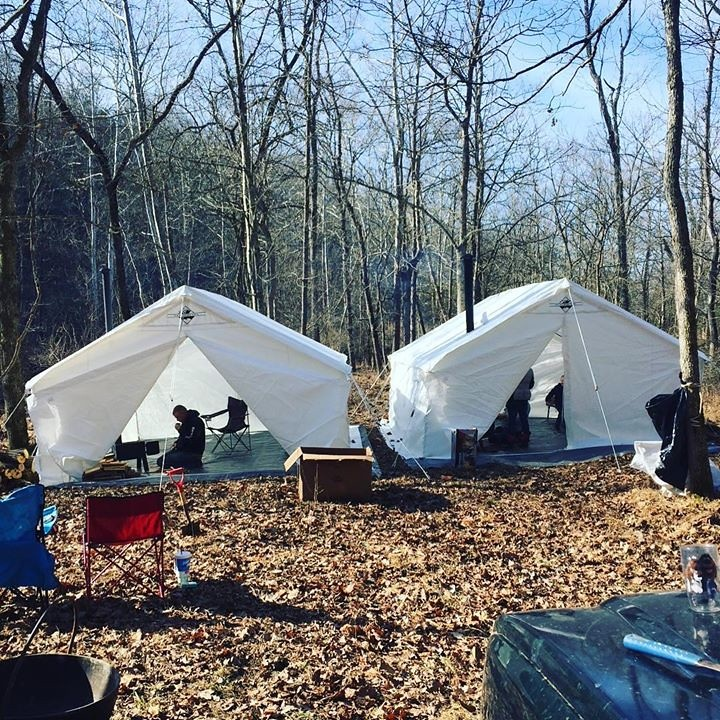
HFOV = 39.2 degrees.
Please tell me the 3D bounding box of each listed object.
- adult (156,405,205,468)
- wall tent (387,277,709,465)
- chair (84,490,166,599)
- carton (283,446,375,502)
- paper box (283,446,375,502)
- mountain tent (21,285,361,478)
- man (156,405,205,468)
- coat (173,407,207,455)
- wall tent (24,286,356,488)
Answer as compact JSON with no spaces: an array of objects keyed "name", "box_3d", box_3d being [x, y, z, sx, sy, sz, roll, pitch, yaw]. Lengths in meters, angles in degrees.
[{"name":"adult","box_3d":[-2.442,1.159,13.681,0.693,1.022,0.695,9,-8,-34]},{"name":"wall tent","box_3d":[2.509,0.116,14.817,3.048,1.800,3.239,0,-3,-7]},{"name":"chair","box_3d":[-2.090,1.585,8.874,0.733,1.150,0.758,-2,11,-15]},{"name":"carton","box_3d":[-0.345,1.304,11.466,0.944,0.511,0.725,-1,9,-2]},{"name":"paper box","box_3d":[-0.345,1.304,11.466,0.945,0.511,0.725,-1,9,-2]},{"name":"mountain tent","box_3d":[-2.433,0.212,13.549,3.065,1.938,3.238,2,-4,-13]},{"name":"man","box_3d":[-2.307,1.065,13.671,0.682,1.104,0.746,2,-7,3]},{"name":"coat","box_3d":[-2.228,0.995,13.600,0.471,0.814,0.838,3,-3,-23]},{"name":"wall tent","box_3d":[-2.416,0.258,13.551,3.107,1.960,3.286,2,-4,-12]}]
